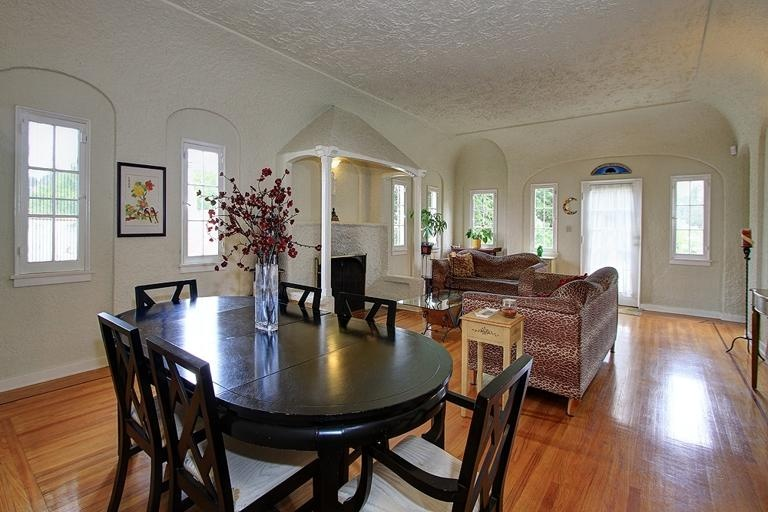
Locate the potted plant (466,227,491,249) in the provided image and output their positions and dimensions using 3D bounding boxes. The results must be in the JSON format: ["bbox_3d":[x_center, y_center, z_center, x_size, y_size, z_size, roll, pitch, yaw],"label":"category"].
[{"bbox_3d":[1.992,-0.361,10.421,0.460,0.332,0.452,-5,-4,42],"label":"potted plant"}]

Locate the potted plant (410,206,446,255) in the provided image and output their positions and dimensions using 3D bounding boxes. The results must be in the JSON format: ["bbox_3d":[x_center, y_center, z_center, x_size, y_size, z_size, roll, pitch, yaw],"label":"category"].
[{"bbox_3d":[0.879,-0.488,9.980,0.637,0.951,1.335,0,3,10],"label":"potted plant"}]
